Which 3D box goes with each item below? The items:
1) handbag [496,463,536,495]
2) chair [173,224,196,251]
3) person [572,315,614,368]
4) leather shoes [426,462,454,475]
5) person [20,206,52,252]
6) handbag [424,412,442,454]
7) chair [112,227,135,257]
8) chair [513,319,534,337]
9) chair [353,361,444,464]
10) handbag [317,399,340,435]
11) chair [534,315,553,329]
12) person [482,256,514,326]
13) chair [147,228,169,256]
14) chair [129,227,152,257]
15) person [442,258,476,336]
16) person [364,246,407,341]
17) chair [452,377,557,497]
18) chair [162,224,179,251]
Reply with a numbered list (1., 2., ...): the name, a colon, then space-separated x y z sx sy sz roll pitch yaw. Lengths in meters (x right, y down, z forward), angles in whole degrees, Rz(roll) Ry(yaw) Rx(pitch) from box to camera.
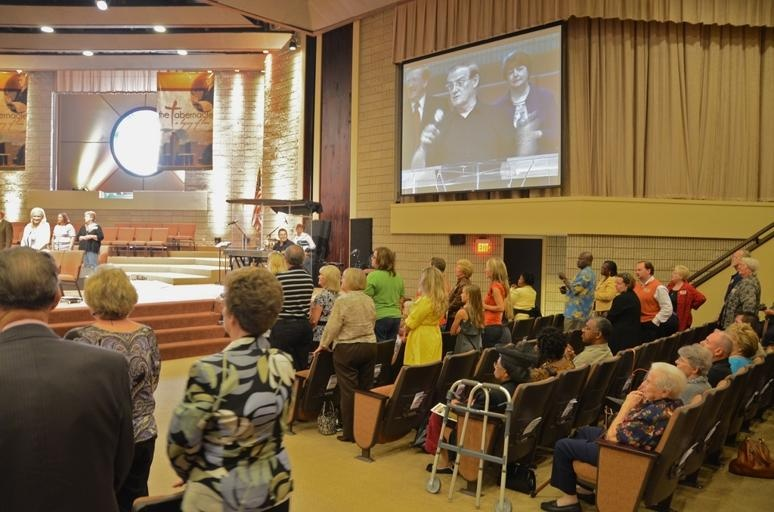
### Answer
1. handbag: 1.220 2.164 5.797 0.307 0.271 0.263 3 -34 20
2. chair: -6.451 -0.623 19.245 0.708 1.040 0.785 1 0 -4
3. person: 2.295 0.947 6.610 0.364 0.577 0.785 13 7 36
4. leather shoes: 0.517 2.094 5.961 0.287 0.119 0.102 -1 0 5
5. person: -6.589 -0.500 11.282 0.426 0.784 1.116 -2 5 -31
6. handbag: 0.441 1.761 6.023 0.138 0.429 0.327 4 -1 -5
7. chair: -8.216 -0.484 18.704 0.641 1.135 0.844 1 0 -1
8. chair: 2.028 1.074 9.003 0.243 0.334 0.278 1 4 -27
9. chair: 0.182 1.442 6.523 0.842 1.145 1.174 0 -1 35
10. handbag: -0.643 1.784 6.852 0.181 0.408 0.293 4 9 20
11. chair: 2.456 1.039 9.517 0.229 0.317 0.256 0 2 -14
12. person: 1.408 0.449 7.591 0.324 0.829 0.599 2 5 12
13. chair: -7.020 -0.421 18.512 0.640 0.927 0.819 1 3 -5
14. chair: -7.634 -0.483 18.714 0.674 1.076 0.797 2 -2 -10
15. person: 0.921 0.778 7.907 0.409 1.446 0.407 0 -5 13
16. person: -0.060 0.699 7.663 0.569 1.590 0.515 2 -4 -32
17. chair: 1.052 1.721 5.921 1.057 1.236 0.908 0 -6 34
18. chair: -6.843 -0.647 19.127 0.595 1.075 0.655 2 -3 -19
